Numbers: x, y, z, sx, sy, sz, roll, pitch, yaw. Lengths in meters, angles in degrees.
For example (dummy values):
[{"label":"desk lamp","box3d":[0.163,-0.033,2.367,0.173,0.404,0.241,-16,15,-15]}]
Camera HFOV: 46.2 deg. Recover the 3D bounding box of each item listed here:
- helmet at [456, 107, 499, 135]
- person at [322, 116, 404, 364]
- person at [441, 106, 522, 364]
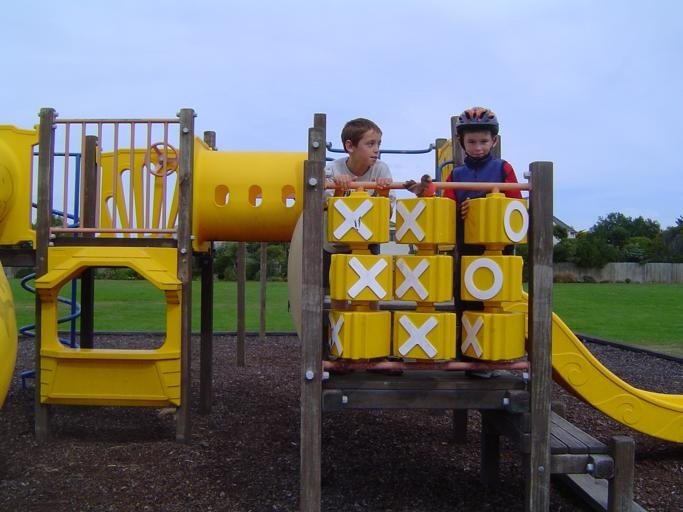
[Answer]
[{"label":"helmet","box3d":[1.194,-1.174,7.032,0.356,0.235,0.342,2,9,7]},{"label":"person","box3d":[0.136,-0.242,7.300,0.627,1.980,1.370,1,8,1]},{"label":"person","box3d":[1.214,-0.236,7.077,0.631,2.100,0.907,2,8,8]}]
